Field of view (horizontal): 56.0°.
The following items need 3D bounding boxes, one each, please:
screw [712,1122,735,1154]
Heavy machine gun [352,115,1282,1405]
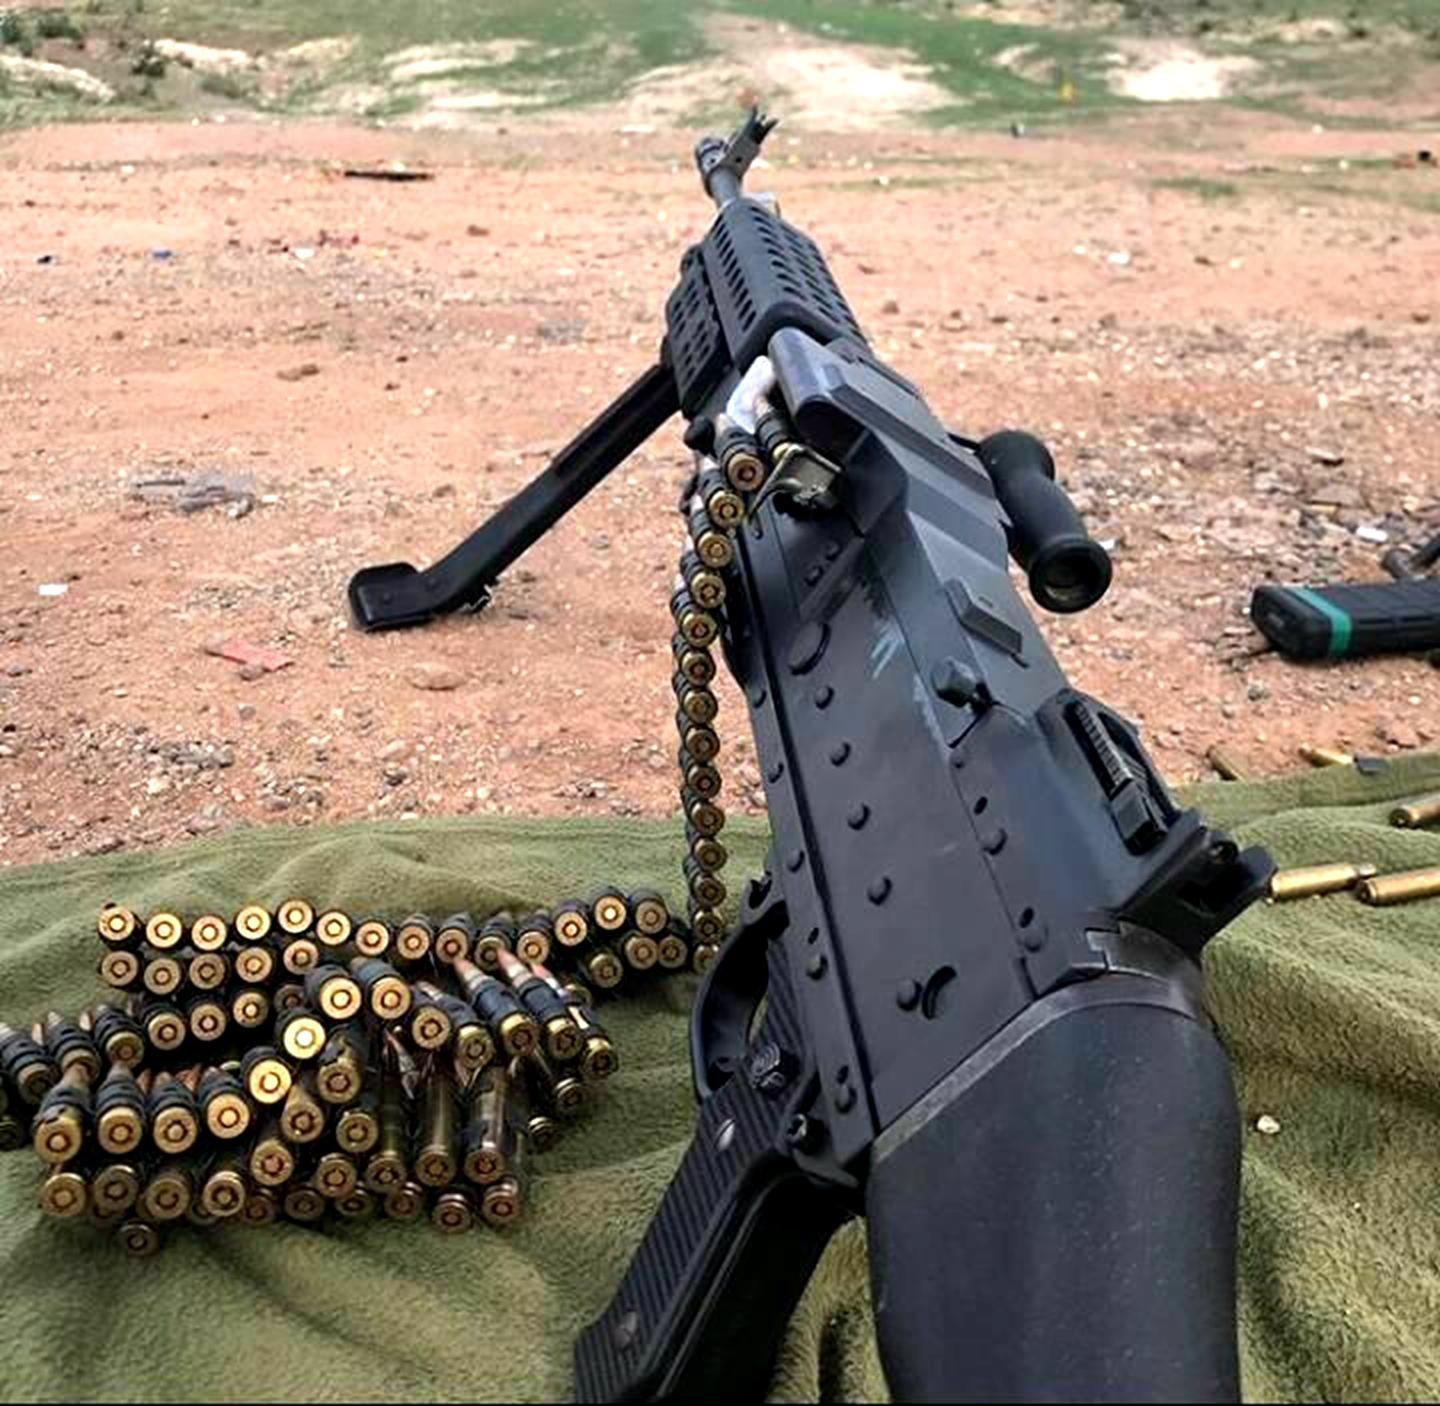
[{"bbox_3d":[0.002,0.768,2.409,0.014,0.047,0.043,35,1,-29],"label":"screw"},{"bbox_3d":[-0.292,-0.012,2.723,1.154,1.244,2.932,12,34,-22],"label":"Heavy machine gun"}]
